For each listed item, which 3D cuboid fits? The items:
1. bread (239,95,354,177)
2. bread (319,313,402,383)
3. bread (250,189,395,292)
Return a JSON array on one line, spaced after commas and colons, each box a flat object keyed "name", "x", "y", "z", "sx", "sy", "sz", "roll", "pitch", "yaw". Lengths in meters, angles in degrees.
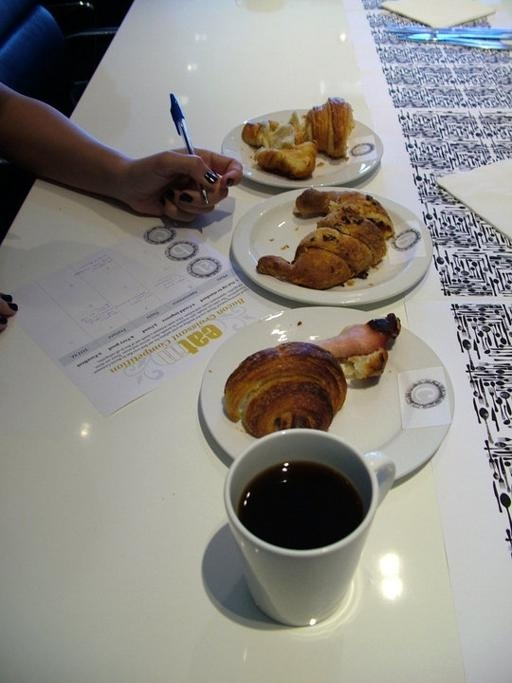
[{"name": "bread", "x": 0.069, "y": -0.353, "z": 0.965, "sx": 0.182, "sy": 0.070, "sz": 0.176, "roll": 5, "pitch": 50, "yaw": 2}, {"name": "bread", "x": 0.115, "y": 0.006, "z": 0.589, "sx": 0.083, "sy": 0.026, "sz": 0.066, "roll": -21, "pitch": 38, "yaw": -13}, {"name": "bread", "x": 0.081, "y": -0.139, "z": 0.748, "sx": 0.156, "sy": 0.070, "sz": 0.223, "roll": 18, "pitch": 43, "yaw": 11}]
